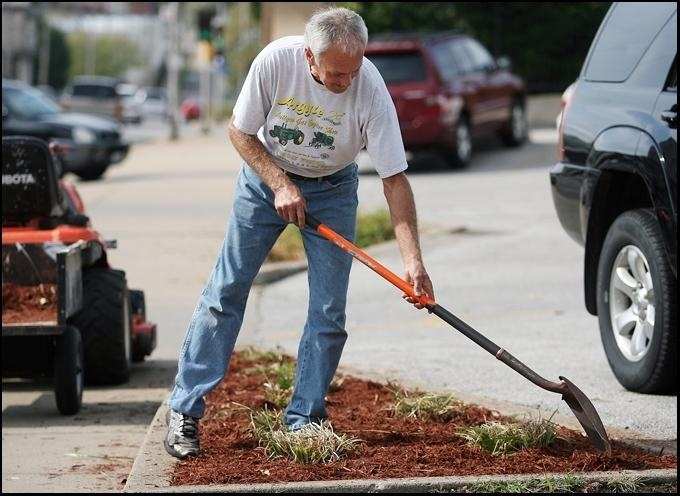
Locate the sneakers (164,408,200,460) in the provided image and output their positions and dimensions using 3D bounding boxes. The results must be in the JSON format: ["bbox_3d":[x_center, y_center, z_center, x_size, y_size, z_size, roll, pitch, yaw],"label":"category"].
[{"bbox_3d":[-0.928,1.134,6.887,0.128,0.160,0.339,12,28,-33],"label":"sneakers"}]

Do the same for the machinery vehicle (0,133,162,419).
[{"bbox_3d":[-1.861,0.154,7.788,0.727,1.833,1.315,0,12,7],"label":"machinery vehicle"}]

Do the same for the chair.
[{"bbox_3d":[-2.033,-0.417,7.575,0.350,0.577,0.500,1,1,-4],"label":"chair"}]

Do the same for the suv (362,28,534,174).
[{"bbox_3d":[1.662,-2.266,17.001,1.300,1.377,2.936,1,15,27],"label":"suv"}]

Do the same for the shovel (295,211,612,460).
[{"bbox_3d":[0.539,0.399,6.933,1.731,0.386,0.169,33,60,15],"label":"shovel"}]
